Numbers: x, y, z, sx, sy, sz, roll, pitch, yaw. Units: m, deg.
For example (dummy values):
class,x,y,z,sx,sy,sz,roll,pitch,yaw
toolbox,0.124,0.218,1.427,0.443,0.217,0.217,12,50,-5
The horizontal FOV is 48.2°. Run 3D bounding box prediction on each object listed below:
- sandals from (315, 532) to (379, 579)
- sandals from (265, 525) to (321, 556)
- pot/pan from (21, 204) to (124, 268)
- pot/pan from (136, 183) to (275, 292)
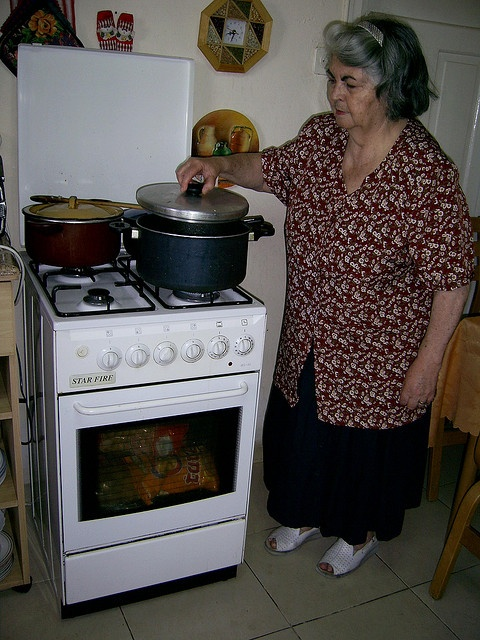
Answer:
class,x,y,z,sx,sy,sz,roll,pitch,yaw
sandals,0.325,0.683,1.611,0.189,0.074,0.075,-12,17,-35
sandals,0.164,0.671,1.689,0.170,0.061,0.064,-4,13,-35
pot/pan,-0.409,-0.209,1.286,0.176,0.107,0.227,20,31,25
pot/pan,-0.078,-0.199,1.254,0.328,0.216,0.285,-4,25,-15
